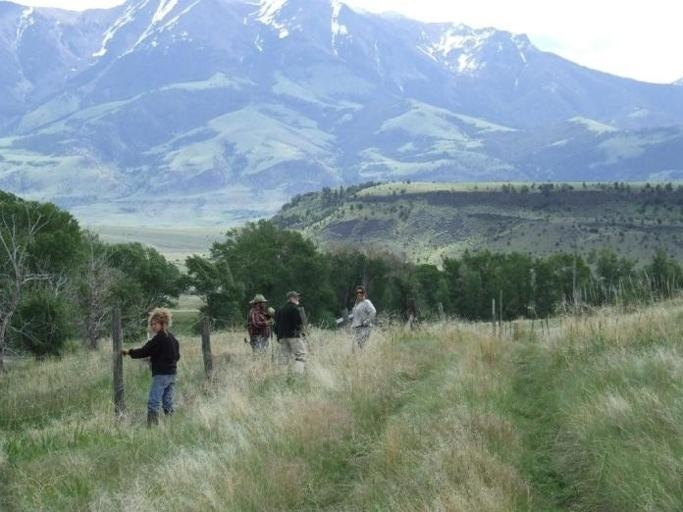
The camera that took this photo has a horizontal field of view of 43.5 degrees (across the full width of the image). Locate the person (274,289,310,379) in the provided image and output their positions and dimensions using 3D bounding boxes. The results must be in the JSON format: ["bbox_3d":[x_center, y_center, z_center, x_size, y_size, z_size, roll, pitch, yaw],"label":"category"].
[{"bbox_3d":[-2.025,3.002,34.421,1.199,3.125,1.197,-1,-4,1],"label":"person"}]

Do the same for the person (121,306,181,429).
[{"bbox_3d":[-6.727,4.046,31.517,1.401,4.229,0.806,1,-4,-20],"label":"person"}]

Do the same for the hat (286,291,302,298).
[{"bbox_3d":[-1.993,1.586,34.716,0.390,0.239,0.292,-2,0,5],"label":"hat"}]
